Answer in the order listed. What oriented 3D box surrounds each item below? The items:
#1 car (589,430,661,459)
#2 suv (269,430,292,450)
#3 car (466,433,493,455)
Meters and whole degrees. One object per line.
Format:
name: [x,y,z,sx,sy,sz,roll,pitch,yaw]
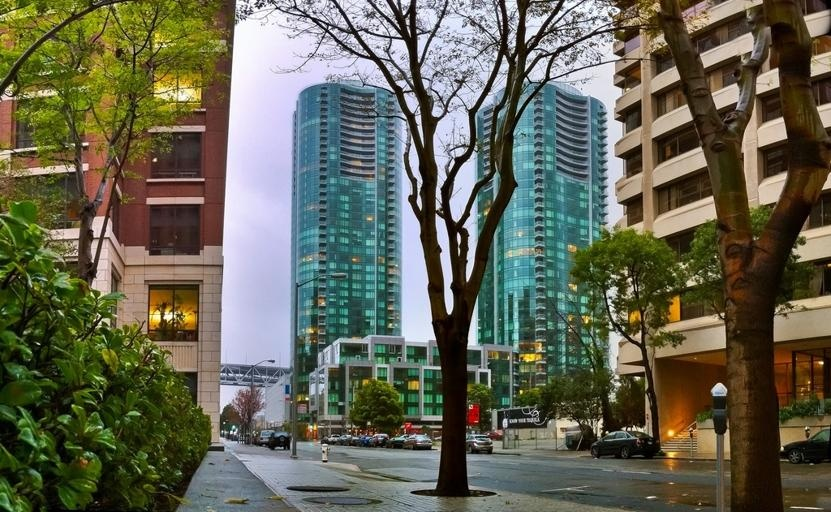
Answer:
car: [12.035,10.812,59.282,3.636,1.600,1.281,-14,-18,43]
suv: [-10.998,15.012,83.806,1.263,0.959,2.090,2,-4,-10]
car: [4.424,12.949,71.243,1.520,1.433,3.127,-1,-13,0]
